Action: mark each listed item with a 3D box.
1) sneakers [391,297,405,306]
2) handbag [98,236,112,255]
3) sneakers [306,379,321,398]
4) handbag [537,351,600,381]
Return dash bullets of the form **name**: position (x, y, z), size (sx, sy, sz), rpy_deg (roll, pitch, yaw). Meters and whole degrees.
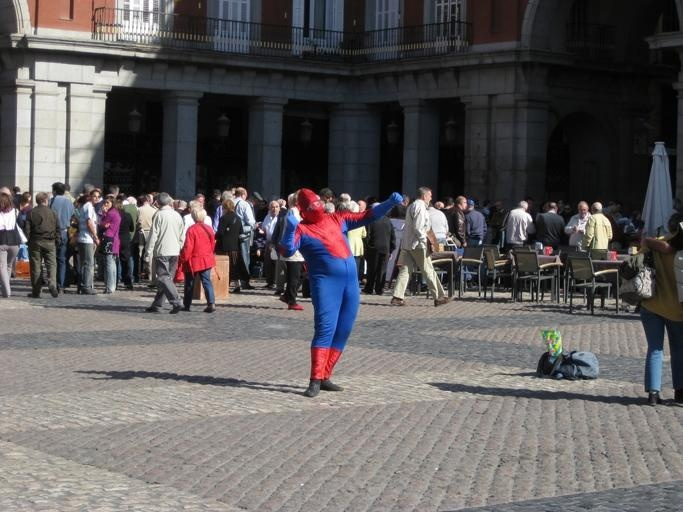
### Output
- **sneakers**: position (1.008, 0.831, 20.453), size (0.155, 0.088, 0.199), rpy_deg (3, 7, -5)
- **handbag**: position (-4.531, -0.229, 21.294), size (0.371, 0.414, 0.154), rpy_deg (0, -4, -14)
- **sneakers**: position (-0.330, 1.439, 12.104), size (0.173, 0.178, 0.140), rpy_deg (0, 3, -8)
- **handbag**: position (2.739, 1.329, 13.472), size (0.504, 0.202, 0.403), rpy_deg (2, -1, -4)
